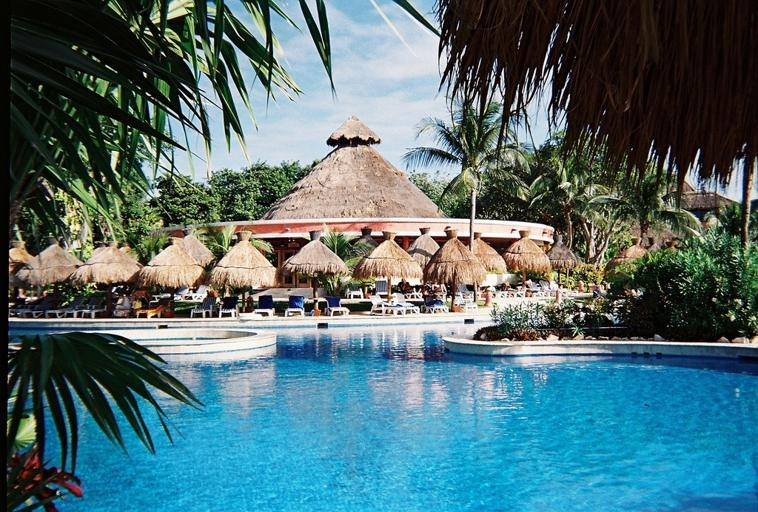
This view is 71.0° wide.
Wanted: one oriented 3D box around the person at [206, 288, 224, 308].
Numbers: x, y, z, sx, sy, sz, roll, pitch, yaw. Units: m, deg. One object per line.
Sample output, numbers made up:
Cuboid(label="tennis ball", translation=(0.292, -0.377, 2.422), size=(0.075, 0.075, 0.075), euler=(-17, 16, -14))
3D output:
Cuboid(label="person", translation=(-6.751, 1.735, 21.836), size=(0.543, 0.859, 0.595), euler=(2, -9, -17))

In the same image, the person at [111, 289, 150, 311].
Cuboid(label="person", translation=(-10.095, 1.750, 21.533), size=(1.185, 0.699, 1.673), euler=(3, -3, -18))
